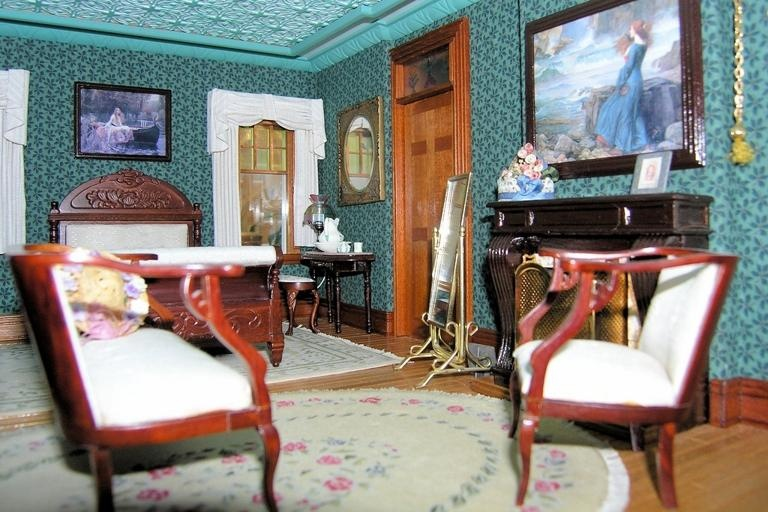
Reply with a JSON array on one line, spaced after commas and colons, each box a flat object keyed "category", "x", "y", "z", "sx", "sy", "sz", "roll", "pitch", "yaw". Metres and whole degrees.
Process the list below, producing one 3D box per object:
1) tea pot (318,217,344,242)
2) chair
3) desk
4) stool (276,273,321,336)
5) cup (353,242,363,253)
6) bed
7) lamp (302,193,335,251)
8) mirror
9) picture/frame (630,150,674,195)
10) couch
[{"category": "tea pot", "x": -0.710, "y": -0.348, "z": 6.768, "sx": 0.219, "sy": 0.356, "sz": 0.388, "roll": 3, "pitch": -3, "yaw": -44}, {"category": "chair", "x": 1.071, "y": 0.597, "z": 3.182, "sx": 1.348, "sy": 1.445, "sz": 1.337, "roll": 2, "pitch": 1, "yaw": 9}, {"category": "desk", "x": -0.704, "y": 0.485, "z": 6.890, "sx": 0.903, "sy": 1.088, "sz": 1.351, "roll": -4, "pitch": 4, "yaw": -37}, {"category": "stool", "x": -1.098, "y": 0.630, "z": 6.460, "sx": 0.476, "sy": 0.551, "sz": 0.816, "roll": 5, "pitch": -5, "yaw": -30}, {"category": "cup", "x": -0.320, "y": -0.104, "z": 6.476, "sx": 0.131, "sy": 0.114, "sz": 0.126, "roll": 1, "pitch": 2, "yaw": 0}, {"category": "bed", "x": -2.572, "y": 0.063, "z": 5.560, "sx": 2.170, "sy": 2.172, "sz": 3.101, "roll": -1, "pitch": 4, "yaw": -29}, {"category": "lamp", "x": -0.919, "y": -0.530, "z": 7.328, "sx": 0.535, "sy": 0.649, "sz": 0.519, "roll": -3, "pitch": 4, "yaw": -35}, {"category": "mirror", "x": 0.602, "y": -0.066, "z": 4.725, "sx": 0.367, "sy": 1.388, "sz": 0.552, "roll": -3, "pitch": 8, "yaw": -17}, {"category": "picture/frame", "x": 1.917, "y": -0.604, "z": 3.662, "sx": 0.236, "sy": 0.295, "sz": 0.174, "roll": 6, "pitch": 10, "yaw": 40}, {"category": "couch", "x": -1.185, "y": 0.600, "z": 2.598, "sx": 1.064, "sy": 1.352, "sz": 0.926, "roll": -4, "pitch": 8, "yaw": -24}]
